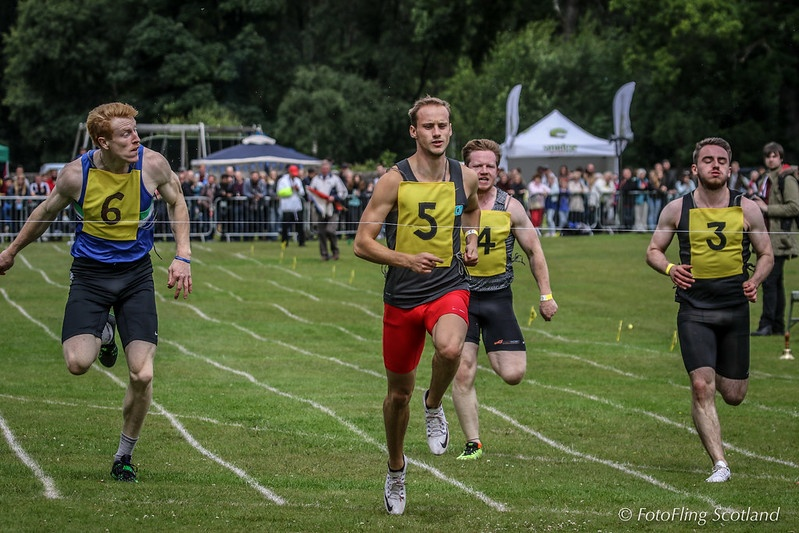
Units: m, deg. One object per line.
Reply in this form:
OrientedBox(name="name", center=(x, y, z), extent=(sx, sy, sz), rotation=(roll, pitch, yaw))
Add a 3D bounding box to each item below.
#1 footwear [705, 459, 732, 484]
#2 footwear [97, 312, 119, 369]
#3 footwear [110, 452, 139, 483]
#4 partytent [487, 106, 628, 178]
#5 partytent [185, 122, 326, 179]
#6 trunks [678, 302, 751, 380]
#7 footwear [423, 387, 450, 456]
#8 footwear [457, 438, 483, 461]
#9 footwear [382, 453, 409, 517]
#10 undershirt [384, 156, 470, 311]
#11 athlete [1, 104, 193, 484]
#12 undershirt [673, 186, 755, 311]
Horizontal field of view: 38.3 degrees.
OrientedBox(name="footwear", center=(3.664, 2.380, 13.159), extent=(0.141, 0.184, 0.395), rotation=(-3, -6, 31))
OrientedBox(name="footwear", center=(-3.600, 0.845, 14.167), extent=(0.302, 0.384, 0.910), rotation=(1, 17, -13))
OrientedBox(name="footwear", center=(-3.104, 2.301, 12.972), extent=(0.342, 0.244, 0.194), rotation=(0, -2, 30))
OrientedBox(name="partytent", center=(4.667, -3.697, 34.370), extent=(4.122, 1.846, 4.157), rotation=(1, -3, -22))
OrientedBox(name="partytent", center=(-2.131, -1.713, 17.203), extent=(1.657, 0.953, 2.740), rotation=(-1, 13, -9))
OrientedBox(name="trunks", center=(3.747, 0.870, 13.632), extent=(0.887, 0.947, 0.553), rotation=(0, -3, -21))
OrientedBox(name="footwear", center=(0.448, 1.874, 13.604), extent=(0.275, 0.800, 0.317), rotation=(-6, 8, 9))
OrientedBox(name="footwear", center=(0.888, 2.259, 13.980), extent=(0.146, 0.162, 0.380), rotation=(-3, -6, 19))
OrientedBox(name="footwear", center=(-0.040, 2.399, 12.477), extent=(0.232, 0.536, 0.342), rotation=(1, 12, 0))
OrientedBox(name="undershirt", center=(0.322, -0.398, 13.111), extent=(1.100, 1.782, 0.902), rotation=(3, 9, -3))
OrientedBox(name="athlete", center=(-3.295, 0.217, 13.243), extent=(1.752, 4.126, 1.272), rotation=(-2, 12, -12))
OrientedBox(name="undershirt", center=(3.900, -0.205, 13.951), extent=(0.913, 1.368, 0.810), rotation=(-4, 13, 5))
